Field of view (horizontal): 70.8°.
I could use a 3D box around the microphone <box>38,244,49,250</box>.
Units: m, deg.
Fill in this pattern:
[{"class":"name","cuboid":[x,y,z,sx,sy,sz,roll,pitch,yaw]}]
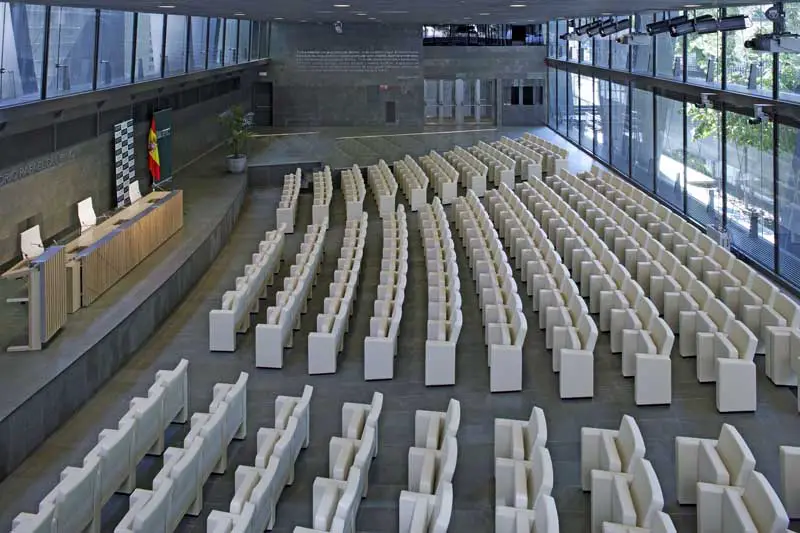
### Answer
[{"class":"microphone","cuboid":[-7.732,-0.403,12.261,0.174,0.088,0.251,1,1,-1]}]
